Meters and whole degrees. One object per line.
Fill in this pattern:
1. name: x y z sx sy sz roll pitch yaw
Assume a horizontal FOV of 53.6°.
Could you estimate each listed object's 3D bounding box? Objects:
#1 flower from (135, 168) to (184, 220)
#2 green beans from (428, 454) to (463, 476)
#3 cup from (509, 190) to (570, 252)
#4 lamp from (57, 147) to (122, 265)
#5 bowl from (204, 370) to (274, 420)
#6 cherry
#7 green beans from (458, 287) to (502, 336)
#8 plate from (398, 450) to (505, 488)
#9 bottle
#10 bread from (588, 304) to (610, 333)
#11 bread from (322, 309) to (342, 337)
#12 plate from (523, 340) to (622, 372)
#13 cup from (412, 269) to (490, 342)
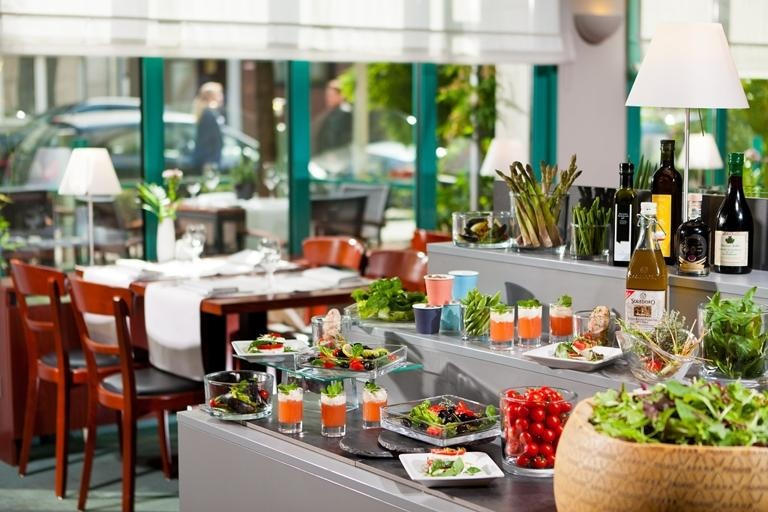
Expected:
1. flower: -1.355 -0.366 4.678 0.353 0.417 0.352 -1 3 -5
2. green beans: 0.152 0.530 1.902 0.049 0.022 0.055 -14 23 -28
3. cup: 0.491 -0.106 2.431 0.164 0.184 0.185 0 -1 -22
4. lamp: -1.653 -0.375 4.370 0.363 0.779 0.328 9 13 40
5. bowl: -0.433 0.422 2.291 0.159 0.098 0.164 1 -2 0
6. cherry: 0.368 0.416 1.942 0.140 0.212 0.153 -6 10 -27
7. green beans: 0.284 0.171 2.316 0.129 0.130 0.112 -2 5 -26
8. plate: 0.168 0.538 1.910 0.121 0.026 0.126 1 5 -7
9. bottle: 0.822 -0.045 2.087 0.260 0.549 0.421 3 7 39
10. bread: 0.594 0.178 2.143 0.053 0.075 0.020 0 -15 33
11. bread: -0.157 0.210 2.358 0.045 0.085 0.022 15 -18 -16
12. plate: 0.516 0.275 2.097 0.260 0.063 0.126 1 6 17
13. cup: 0.223 0.169 2.322 0.166 0.225 0.170 -2 9 0
